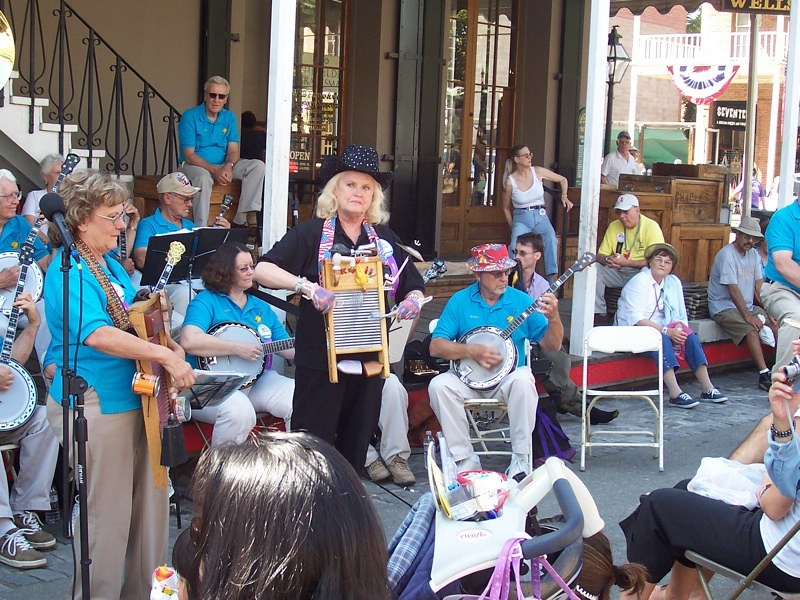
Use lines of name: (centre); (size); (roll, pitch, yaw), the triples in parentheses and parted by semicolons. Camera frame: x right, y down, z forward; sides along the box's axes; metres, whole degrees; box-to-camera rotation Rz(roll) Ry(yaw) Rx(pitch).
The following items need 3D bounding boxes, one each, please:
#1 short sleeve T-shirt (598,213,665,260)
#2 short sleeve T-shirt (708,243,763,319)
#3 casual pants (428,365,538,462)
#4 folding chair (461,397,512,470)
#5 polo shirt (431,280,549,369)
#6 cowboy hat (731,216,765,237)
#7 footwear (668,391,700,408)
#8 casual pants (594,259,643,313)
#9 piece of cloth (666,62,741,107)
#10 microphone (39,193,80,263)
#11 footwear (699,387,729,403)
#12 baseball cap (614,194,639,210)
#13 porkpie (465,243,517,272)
short sleeve T-shirt: (2.471, -0.630, 8.856); (0.656, 0.603, 0.392); (7, 21, 22)
short sleeve T-shirt: (3.528, -0.182, 8.678); (0.579, 0.761, 0.379); (11, -13, -30)
casual pants: (0.626, 0.747, 5.906); (0.531, 0.854, 0.607); (-6, 5, -23)
folding chair: (0.696, 0.981, 6.455); (0.387, 0.214, 0.860); (-2, 8, -3)
polo shirt: (0.659, 0.186, 6.061); (0.847, 0.644, 0.374); (-3, 4, 1)
cowboy hat: (3.598, -0.743, 8.590); (0.204, 0.125, 0.232); (18, -5, 0)
footwear: (2.697, 0.943, 7.899); (0.241, 0.114, 0.124); (4, 7, 38)
casual pants: (2.409, -0.120, 9.006); (0.250, 0.435, 0.378); (-3, 42, -35)
piece of cloth: (8.990, -6.350, 24.298); (1.986, 1.589, 0.257); (0, -25, 17)
microphone: (-1.518, -0.347, 3.740); (0.147, 0.299, 0.285); (-6, 5, -33)
footwear: (3.076, 0.922, 8.118); (0.269, 0.135, 0.111); (0, 0, 33)
baseball cap: (2.382, -1.038, 8.648); (0.145, 0.132, 0.227); (0, 8, 36)
porkpie: (0.690, -0.295, 5.980); (0.234, 0.101, 0.227); (-9, 22, -10)
